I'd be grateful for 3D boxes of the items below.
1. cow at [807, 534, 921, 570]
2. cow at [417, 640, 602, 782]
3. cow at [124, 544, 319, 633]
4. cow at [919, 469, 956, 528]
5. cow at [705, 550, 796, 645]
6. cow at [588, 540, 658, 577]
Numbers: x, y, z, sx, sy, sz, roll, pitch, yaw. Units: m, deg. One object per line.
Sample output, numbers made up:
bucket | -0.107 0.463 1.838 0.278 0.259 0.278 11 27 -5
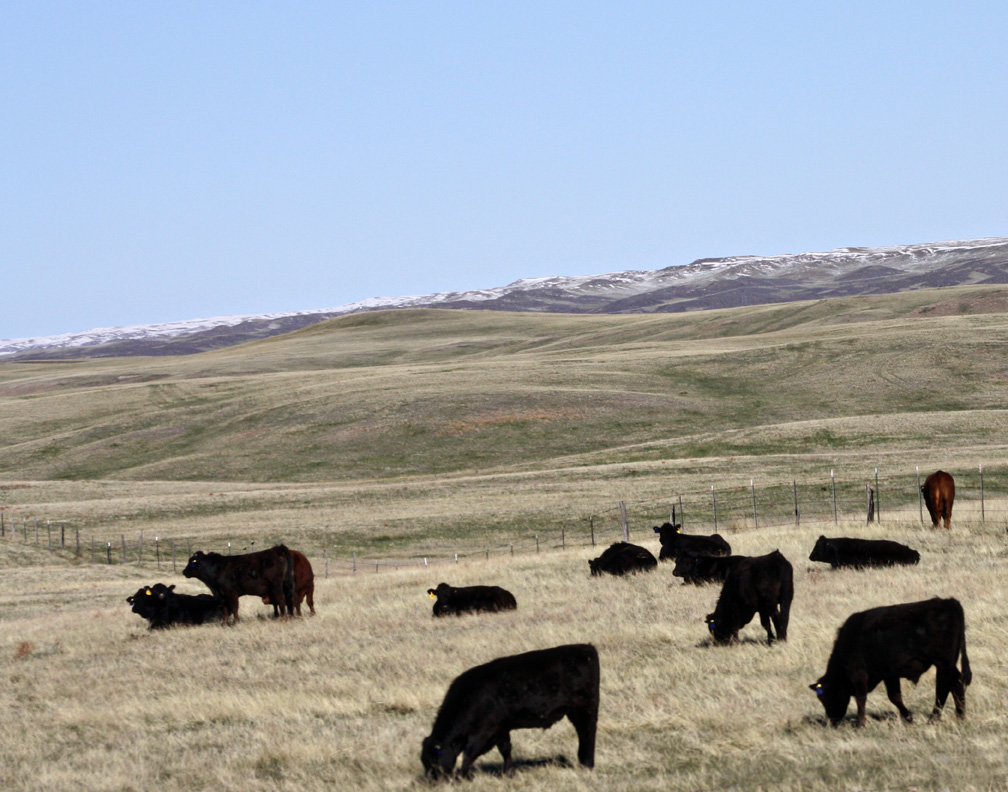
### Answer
cow | 9.418 4.093 43.209 2.608 0.815 2.342 -6 4 -39
cow | 0.060 6.199 33.467 5.752 3.099 1.552 -3 -14 -10
cow | -8.319 5.046 44.126 6.173 2.721 1.911 -1 -8 0
cow | 12.894 3.027 49.079 0.878 1.753 3.109 -4 -5 13
cow | 5.678 4.584 37.927 1.822 2.057 0.591 -4 -5 12
cow | 3.274 4.470 45.742 1.845 0.904 0.835 -3 -5 3
